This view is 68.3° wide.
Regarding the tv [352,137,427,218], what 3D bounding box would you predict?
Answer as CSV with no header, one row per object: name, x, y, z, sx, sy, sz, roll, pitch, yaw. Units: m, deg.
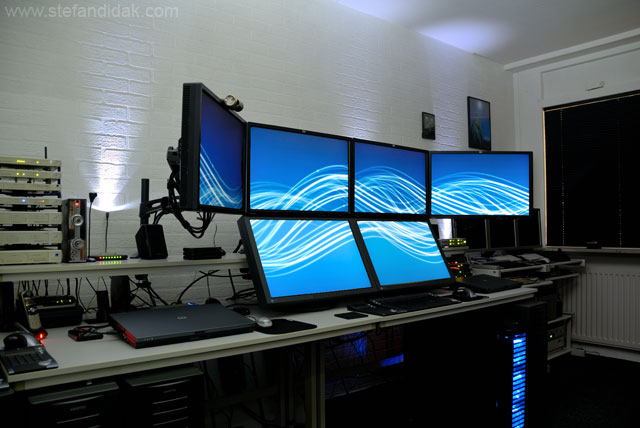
tv,0.517,-0.248,3.506,0.689,0.432,0.029,4,-10,-33

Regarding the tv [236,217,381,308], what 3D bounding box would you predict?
tv,-0.067,0.311,2.977,0.645,0.362,0.220,0,-8,-26

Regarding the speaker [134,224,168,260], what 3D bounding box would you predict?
speaker,-1.062,0.173,2.955,0.152,0.219,0.240,-7,3,-26

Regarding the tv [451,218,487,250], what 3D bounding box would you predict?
tv,1.334,0.180,4.222,0.347,0.266,0.036,0,-15,-19

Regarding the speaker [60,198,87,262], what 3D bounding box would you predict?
speaker,-1.497,0.097,2.865,0.149,0.416,0.183,-7,2,-8

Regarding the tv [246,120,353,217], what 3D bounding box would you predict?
tv,-0.143,-0.277,3.175,0.802,0.510,0.079,3,-8,-26

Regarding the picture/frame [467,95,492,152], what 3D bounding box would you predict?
picture/frame,1.797,-1.021,5.307,0.403,0.429,0.023,-7,2,-32

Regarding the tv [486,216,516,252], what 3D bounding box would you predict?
tv,1.700,0.180,4.437,0.391,0.211,0.038,2,-8,-38
